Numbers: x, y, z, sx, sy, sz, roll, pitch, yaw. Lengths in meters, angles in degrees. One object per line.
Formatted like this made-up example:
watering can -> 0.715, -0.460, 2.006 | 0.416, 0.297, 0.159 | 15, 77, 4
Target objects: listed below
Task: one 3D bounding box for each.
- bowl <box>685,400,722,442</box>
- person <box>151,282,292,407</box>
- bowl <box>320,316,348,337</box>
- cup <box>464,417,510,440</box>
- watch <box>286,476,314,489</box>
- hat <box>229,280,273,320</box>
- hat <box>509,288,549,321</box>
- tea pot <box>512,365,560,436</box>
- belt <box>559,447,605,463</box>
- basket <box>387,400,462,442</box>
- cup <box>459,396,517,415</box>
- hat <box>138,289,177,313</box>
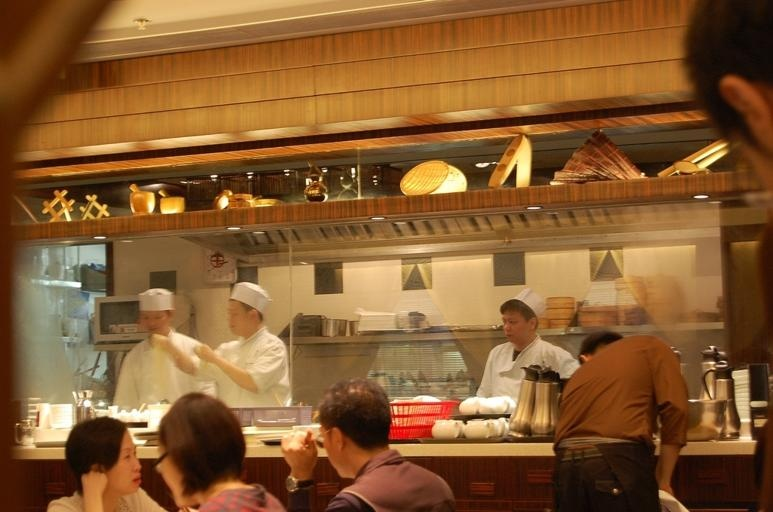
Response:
bowl -> 1.623, 0.826, 4.562 | 0.208, 0.157, 0.225 | 2, -12, 0
person -> -0.907, 0.573, 5.423 | 0.802, 0.875, 0.611 | 3, -11, -26
bowl -> -0.306, 0.411, 5.385 | 0.145, 0.087, 0.113 | -2, -6, 23
cup -> 0.545, 0.923, 4.849 | 0.168, 0.066, 0.128 | -3, -7, 23
watch -> -0.370, 0.958, 3.802 | 0.083, 0.047, 0.083 | -4, -11, 37
hat -> -0.804, 0.251, 5.328 | 0.220, 0.120, 0.164 | 17, -11, -4
hat -> 0.848, 0.281, 5.257 | 0.155, 0.121, 0.173 | 35, -3, -14
tea pot -> 0.814, 0.781, 4.877 | 0.278, 0.286, 0.164 | 0, 0, 8
belt -> 0.904, 0.925, 4.224 | 0.223, 0.057, 0.040 | -1, -1, 38
basket -> 0.188, 0.900, 4.986 | 0.325, 0.145, 0.396 | -3, -17, 11
cup -> 0.580, 0.848, 5.121 | 0.317, 0.080, 0.163 | 0, -1, 6
hat -> -1.414, 0.272, 5.531 | 0.171, 0.098, 0.168 | -2, -3, 30
